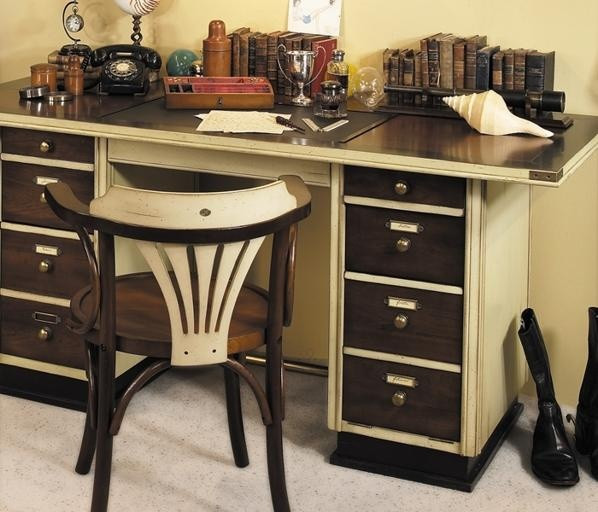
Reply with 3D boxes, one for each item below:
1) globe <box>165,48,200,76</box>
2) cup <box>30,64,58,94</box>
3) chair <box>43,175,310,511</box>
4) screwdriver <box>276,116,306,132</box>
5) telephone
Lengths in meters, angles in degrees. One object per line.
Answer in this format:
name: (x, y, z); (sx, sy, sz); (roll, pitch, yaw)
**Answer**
globe: (-0.472, -0.747, 2.290); (0.128, 0.143, 0.126); (4, 18, -18)
cup: (-0.911, -0.630, 2.085); (0.105, 0.111, 0.104); (3, 12, -1)
chair: (-0.283, 0.244, 1.462); (0.615, 0.945, 0.491); (4, 20, 9)
screwdriver: (-0.035, -0.393, 1.723); (0.038, 0.023, 0.158); (10, 14, -34)
telephone: (-0.647, -0.741, 2.229); (0.298, 0.149, 0.269); (-2, 29, -6)
